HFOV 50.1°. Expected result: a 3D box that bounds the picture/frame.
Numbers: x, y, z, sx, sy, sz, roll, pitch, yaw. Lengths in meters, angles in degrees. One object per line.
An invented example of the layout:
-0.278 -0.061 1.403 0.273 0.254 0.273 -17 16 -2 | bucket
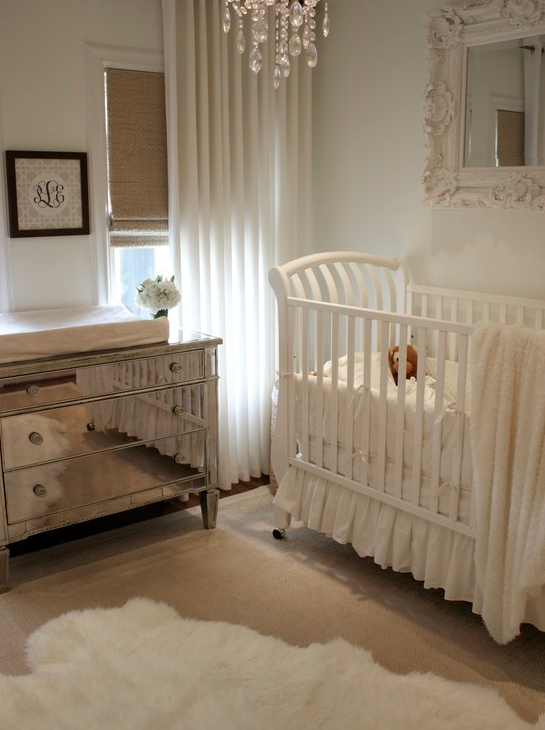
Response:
-0.871 -0.655 2.232 0.283 0.335 0.019 -14 22 -40 | picture/frame

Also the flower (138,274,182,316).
-0.453 -0.271 2.382 0.145 0.176 0.156 1 0 15 | flower

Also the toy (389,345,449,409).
0.515 0.040 2.114 0.166 0.113 0.239 -24 48 -15 | toy

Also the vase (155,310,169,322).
-0.435 -0.192 2.271 0.044 0.058 0.050 -1 -7 40 | vase
